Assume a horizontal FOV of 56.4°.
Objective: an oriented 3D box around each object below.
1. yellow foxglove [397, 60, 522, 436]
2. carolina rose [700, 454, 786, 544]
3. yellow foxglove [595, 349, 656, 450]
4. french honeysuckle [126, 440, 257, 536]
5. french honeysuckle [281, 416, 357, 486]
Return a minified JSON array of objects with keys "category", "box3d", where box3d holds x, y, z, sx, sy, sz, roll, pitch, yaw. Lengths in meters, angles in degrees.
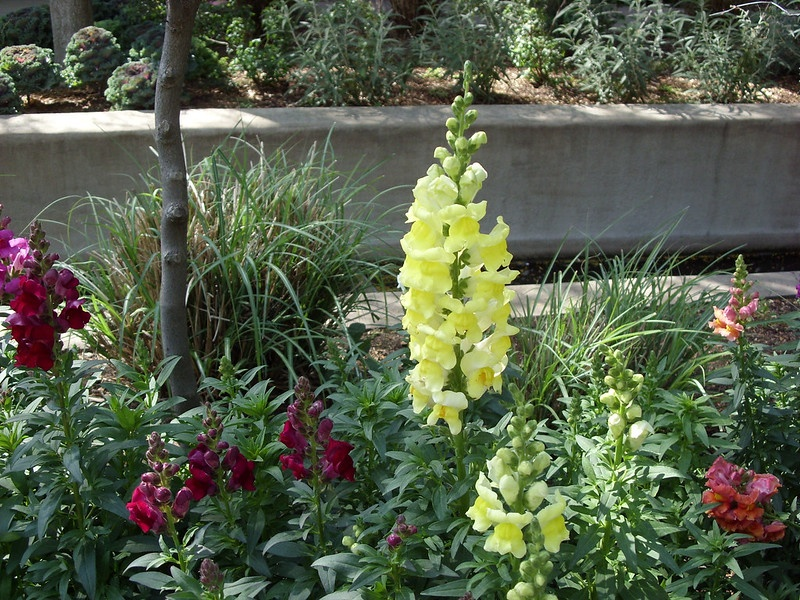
[{"category":"yellow foxglove","box3d":[0.176,-0.150,2.832,0.431,1.414,0.462,0,16,-11]},{"category":"carolina rose","box3d":[1.429,0.856,3.101,0.364,0.373,0.212,-5,16,-26]},{"category":"yellow foxglove","box3d":[0.843,0.392,2.805,0.178,0.406,0.183,-1,14,-6]},{"category":"french honeysuckle","box3d":[-0.775,0.678,2.866,0.487,0.441,0.317,-10,19,-40]},{"category":"french honeysuckle","box3d":[-0.336,0.593,2.986,0.277,0.275,0.236,-8,12,-26]}]
